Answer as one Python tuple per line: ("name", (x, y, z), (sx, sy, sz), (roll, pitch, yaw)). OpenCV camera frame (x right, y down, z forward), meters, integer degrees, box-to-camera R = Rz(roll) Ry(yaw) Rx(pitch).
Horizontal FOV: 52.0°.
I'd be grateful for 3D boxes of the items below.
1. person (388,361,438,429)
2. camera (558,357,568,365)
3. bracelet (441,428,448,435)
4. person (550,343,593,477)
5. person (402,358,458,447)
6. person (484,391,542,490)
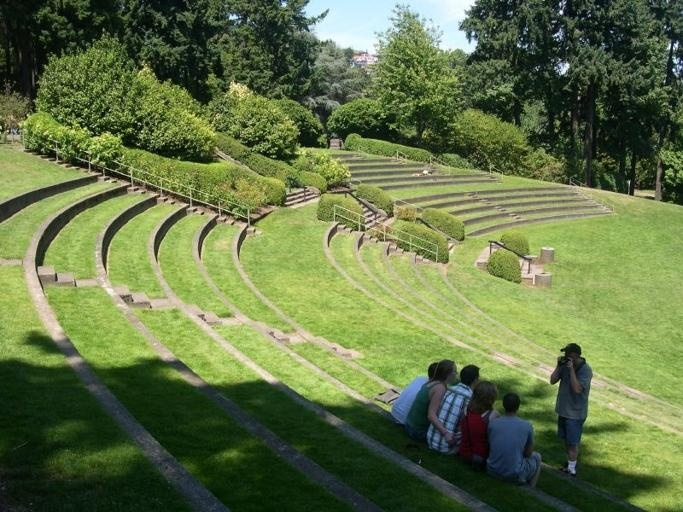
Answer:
("person", (1.475, 2.810, 14.186), (0.671, 1.522, 0.485), (7, 25, -45))
("camera", (4.476, 2.142, 14.266), (0.138, 0.139, 0.136), (25, 15, 11))
("bracelet", (1.914, 3.294, 13.222), (0.099, 0.027, 0.104), (38, 12, -2))
("person", (4.591, 3.096, 14.344), (0.766, 2.583, 0.632), (10, 7, 19))
("person", (1.718, 2.942, 13.780), (1.080, 1.754, 1.060), (-3, 22, -23))
("person", (3.145, 3.335, 12.851), (1.002, 1.584, 0.464), (9, 7, 13))
